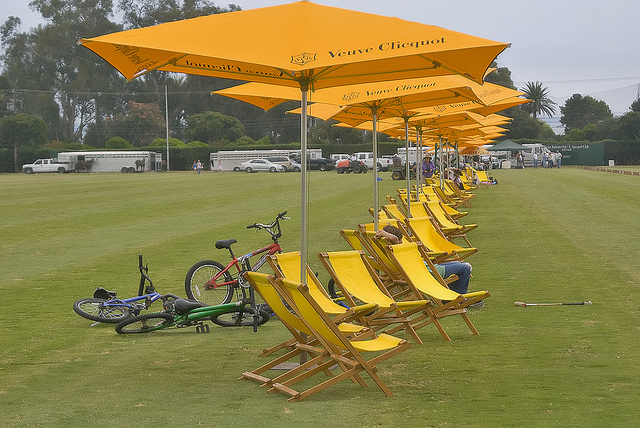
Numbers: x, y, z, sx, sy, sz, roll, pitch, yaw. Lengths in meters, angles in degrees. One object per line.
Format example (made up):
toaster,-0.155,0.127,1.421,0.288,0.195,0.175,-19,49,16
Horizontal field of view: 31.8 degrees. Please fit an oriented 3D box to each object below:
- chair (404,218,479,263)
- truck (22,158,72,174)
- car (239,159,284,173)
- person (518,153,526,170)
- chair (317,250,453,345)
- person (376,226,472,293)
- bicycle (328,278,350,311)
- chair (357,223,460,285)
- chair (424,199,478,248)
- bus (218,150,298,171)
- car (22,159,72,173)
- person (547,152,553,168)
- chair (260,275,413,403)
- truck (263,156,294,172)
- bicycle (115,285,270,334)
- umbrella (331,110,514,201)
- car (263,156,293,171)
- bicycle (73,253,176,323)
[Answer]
chair,2.483,0.532,24.317,1.316,0.764,0.885,16,13,40
truck,-21.593,-3.811,88.172,3.366,0.885,1.461,1,1,1
car,-4.623,-3.621,83.788,2.923,0.719,1.161,-1,2,15
person,14.798,-4.005,83.964,0.460,1.052,0.438,-2,-11,13
chair,0.735,1.471,21.283,2.677,1.878,1.611,7,3,24
person,1.734,0.918,22.220,1.981,1.169,1.176,-2,2,24
bicycle,0.360,1.575,22.425,0.645,0.176,0.357,29,31,-7
chair,1.629,0.810,22.940,1.631,1.512,1.453,4,5,35
chair,2.868,0.377,26.692,1.108,0.805,0.649,-22,-9,27
bus,-5.192,-4.095,89.197,8.889,1.836,2.037,0,5,10
car,-21.532,-3.770,88.079,3.161,0.821,1.358,1,1,2
person,17.354,-4.154,86.056,0.406,1.062,1.266,2,3,11
chair,0.263,2.214,19.960,2.681,1.754,1.734,2,-1,-8
truck,-3.188,-3.809,84.044,2.099,0.802,1.077,4,4,9
bicycle,-2.569,1.842,22.231,2.599,1.015,1.337,-2,-9,-8
umbrella,2.042,-1.617,27.234,4.449,2.156,3.692,-1,4,26
car,-3.180,-3.808,84.063,2.012,0.807,1.035,4,4,10
bicycle,-4.077,1.591,22.431,2.379,0.944,1.290,-7,15,-11
